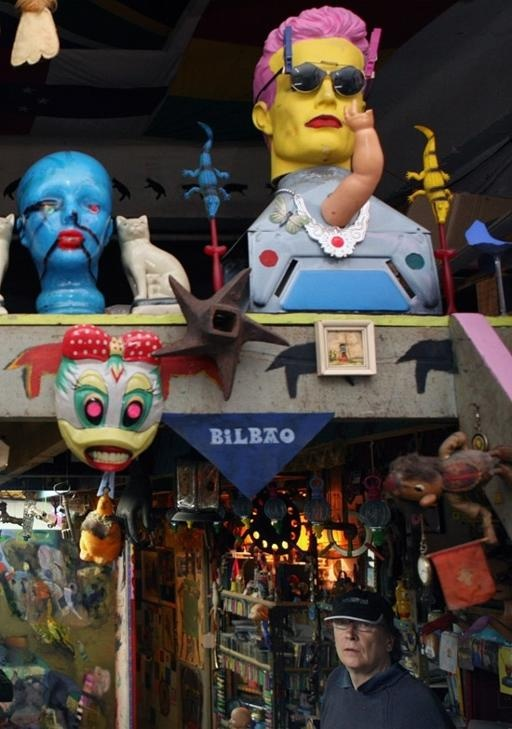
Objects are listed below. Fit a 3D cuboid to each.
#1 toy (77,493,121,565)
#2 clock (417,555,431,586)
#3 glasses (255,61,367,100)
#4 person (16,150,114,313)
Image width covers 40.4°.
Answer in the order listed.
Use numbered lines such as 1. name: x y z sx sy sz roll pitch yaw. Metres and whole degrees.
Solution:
1. toy: -0.871 0.921 3.916 0.232 0.370 0.422 0 -14 -11
2. clock: 0.585 0.710 2.421 0.039 0.091 0.127 -4 -14 6
3. glasses: 0.350 -1.438 3.513 0.416 0.148 0.146 -1 -14 -4
4. person: -0.904 -0.639 3.317 0.459 0.961 0.403 2 -16 -18
